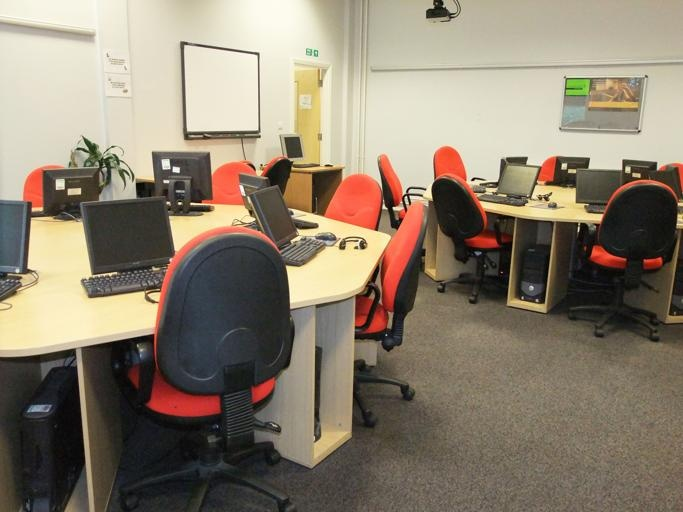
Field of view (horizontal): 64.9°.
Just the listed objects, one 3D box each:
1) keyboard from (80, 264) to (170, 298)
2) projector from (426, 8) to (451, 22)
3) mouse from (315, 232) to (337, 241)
[{"bbox_3d":[-1.039,0.121,2.573,0.374,0.054,0.259,-5,18,-22],"label":"keyboard"},{"bbox_3d":[1.315,-3.255,7.301,0.336,0.132,0.532,5,16,10],"label":"projector"},{"bbox_3d":[-0.101,-0.133,3.341,0.100,0.039,0.062,12,17,24],"label":"mouse"}]
